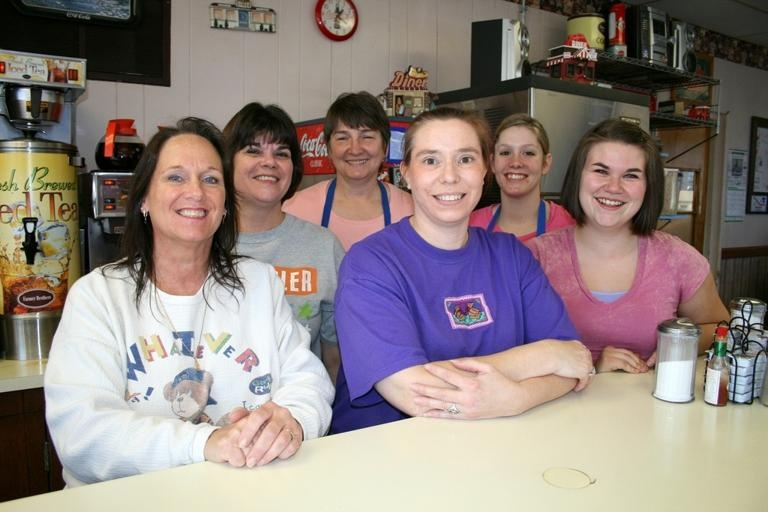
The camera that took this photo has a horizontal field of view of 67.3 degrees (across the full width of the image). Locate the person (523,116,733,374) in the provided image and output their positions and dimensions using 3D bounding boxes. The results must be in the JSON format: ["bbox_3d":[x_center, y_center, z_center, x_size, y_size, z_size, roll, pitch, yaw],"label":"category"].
[{"bbox_3d":[1.014,-0.004,2.565,1.128,1.050,0.644,-2,11,3],"label":"person"}]

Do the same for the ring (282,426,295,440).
[{"bbox_3d":[-0.296,0.538,1.757,0.012,0.029,0.024,-21,17,-27],"label":"ring"}]
